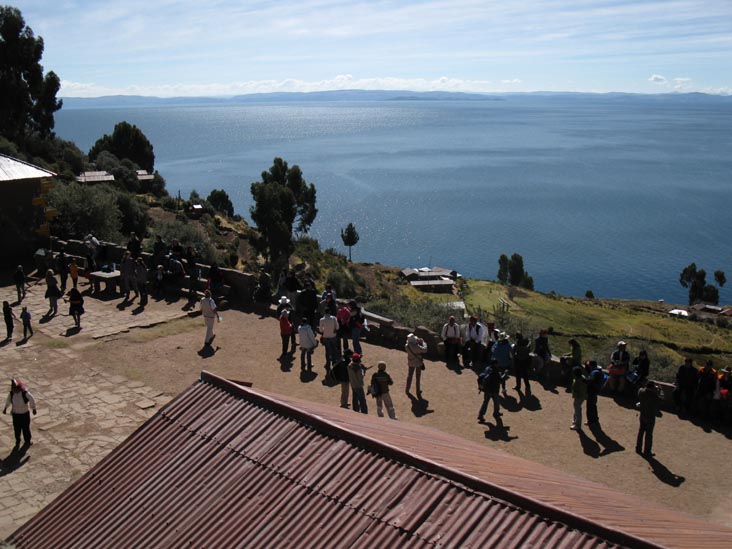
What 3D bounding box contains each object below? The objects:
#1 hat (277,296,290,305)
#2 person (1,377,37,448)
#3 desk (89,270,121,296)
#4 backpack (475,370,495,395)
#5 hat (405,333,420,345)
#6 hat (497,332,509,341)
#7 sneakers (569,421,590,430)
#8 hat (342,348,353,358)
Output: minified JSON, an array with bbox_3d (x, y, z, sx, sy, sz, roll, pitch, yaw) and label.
[{"bbox_3d":[-2.721,0.857,21.390,0.304,0.140,0.352,0,10,-3],"label":"hat"},{"bbox_3d":[-8.041,3.076,14.829,0.627,1.606,1.306,-8,13,-30],"label":"person"},{"bbox_3d":[-9.739,0.233,23.823,0.974,0.649,1.010,11,16,28],"label":"desk"},{"bbox_3d":[2.992,2.612,16.011,0.197,0.676,0.538,-5,12,-17],"label":"backpack"},{"bbox_3d":[1.353,1.806,18.121,0.578,0.275,0.816,1,-3,4],"label":"hat"},{"bbox_3d":[3.712,1.667,17.224,0.228,0.166,0.306,3,1,29],"label":"hat"},{"bbox_3d":[5.492,3.813,16.316,0.577,0.185,0.262,-8,13,-24],"label":"sneakers"},{"bbox_3d":[-0.442,1.958,15.661,0.237,0.324,0.320,0,2,-5],"label":"hat"}]
